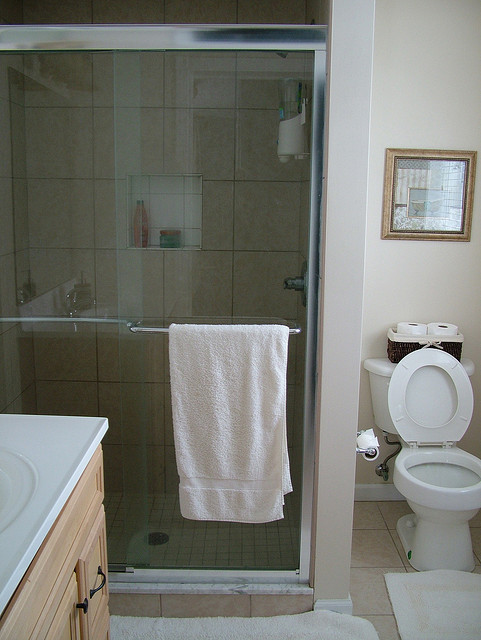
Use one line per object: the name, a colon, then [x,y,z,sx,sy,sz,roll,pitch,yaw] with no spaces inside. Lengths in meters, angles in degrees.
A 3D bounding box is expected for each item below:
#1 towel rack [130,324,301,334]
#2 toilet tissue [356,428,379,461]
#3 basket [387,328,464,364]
towel rack: [-0.084,0.031,1.706,0.512,0.027,0.023,1,8,2]
toilet tissue: [0.440,0.419,1.950,0.074,0.032,0.127,-8,29,5]
basket: [0.767,0.091,2.341,0.203,0.091,0.160,-1,3,0]
